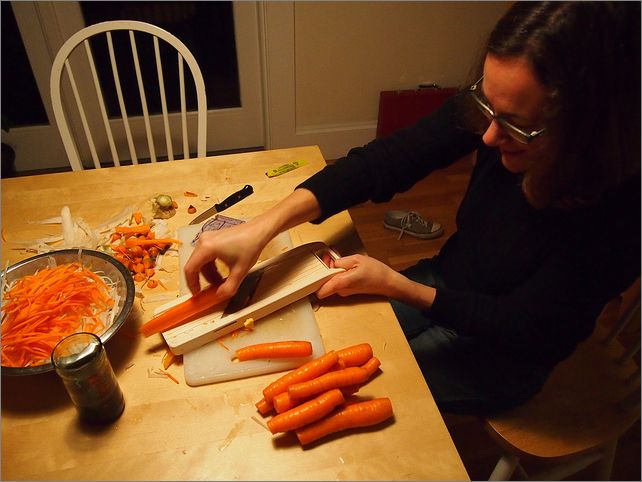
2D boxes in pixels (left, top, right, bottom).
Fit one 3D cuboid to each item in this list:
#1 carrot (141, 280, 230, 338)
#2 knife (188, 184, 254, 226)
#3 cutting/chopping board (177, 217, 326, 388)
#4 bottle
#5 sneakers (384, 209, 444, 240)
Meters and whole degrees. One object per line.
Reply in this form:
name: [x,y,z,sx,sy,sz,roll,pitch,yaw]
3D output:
carrot: [-0.391,0.206,1.430,0.209,0.051,0.049,-32,42,-9]
knife: [-0.365,-0.124,1.768,0.241,0.019,0.042,-34,59,-29]
cutting/chopping board: [-0.187,0.167,1.257,0.356,0.029,0.528,-11,52,-10]
bottle: [-0.598,0.360,1.249,0.113,0.236,0.112,0,36,0]
sneakers: [0.565,-0.099,3.073,0.383,0.158,0.166,11,47,6]
